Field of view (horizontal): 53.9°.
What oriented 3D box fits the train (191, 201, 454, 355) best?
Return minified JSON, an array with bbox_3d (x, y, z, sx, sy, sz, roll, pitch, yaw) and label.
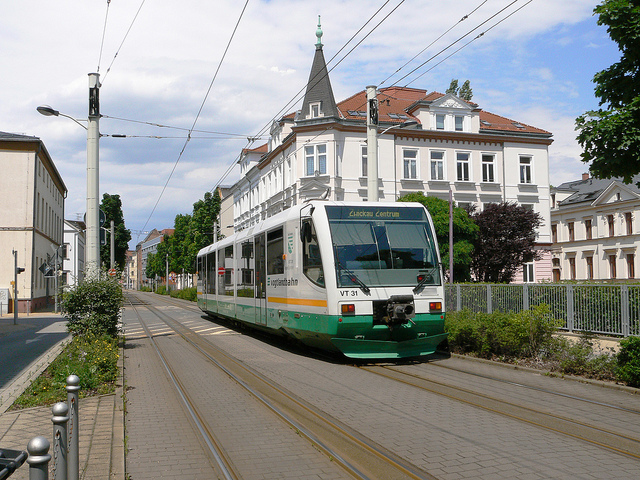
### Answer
[{"bbox_3d":[-0.750,1.275,18.950,2.762,2.559,11.218,1,-5,-24],"label":"train"}]
